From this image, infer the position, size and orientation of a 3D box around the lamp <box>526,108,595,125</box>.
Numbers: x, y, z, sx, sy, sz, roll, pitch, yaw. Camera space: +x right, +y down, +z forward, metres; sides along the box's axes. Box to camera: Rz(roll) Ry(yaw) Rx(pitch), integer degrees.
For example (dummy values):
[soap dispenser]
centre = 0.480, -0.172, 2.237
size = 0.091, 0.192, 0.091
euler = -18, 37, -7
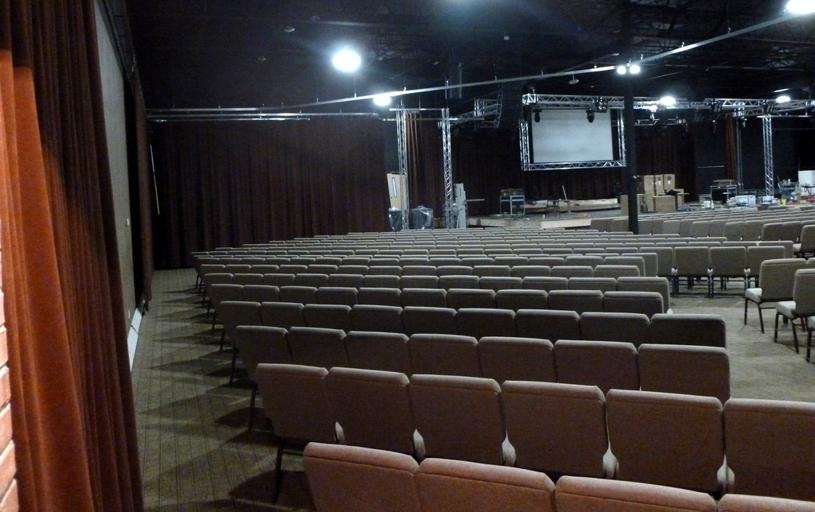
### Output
[lamp]
centre = 5.922, -5.298, 21.934
size = 2.366, 0.553, 3.753
euler = 0, 11, 17
